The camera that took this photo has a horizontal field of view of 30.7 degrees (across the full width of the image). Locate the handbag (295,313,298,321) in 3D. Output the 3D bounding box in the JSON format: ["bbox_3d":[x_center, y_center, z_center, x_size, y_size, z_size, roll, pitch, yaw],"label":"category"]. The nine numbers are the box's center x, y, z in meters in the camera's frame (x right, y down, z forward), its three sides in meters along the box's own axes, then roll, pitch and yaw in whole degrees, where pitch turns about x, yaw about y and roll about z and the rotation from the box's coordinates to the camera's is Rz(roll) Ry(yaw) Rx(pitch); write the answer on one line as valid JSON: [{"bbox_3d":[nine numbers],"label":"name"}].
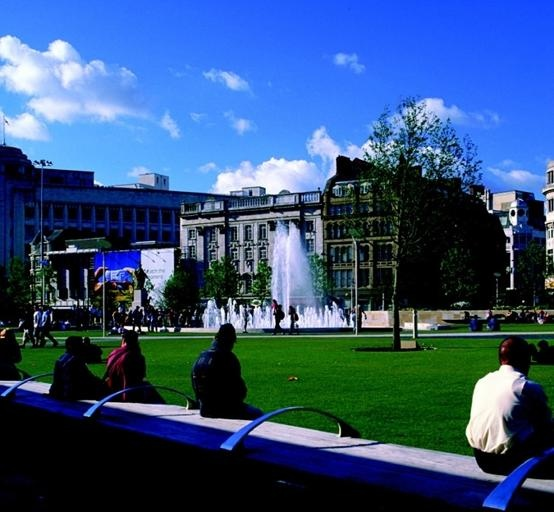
[{"bbox_3d":[0.872,2.813,47.079,0.116,0.289,0.504,-1,-2,-4],"label":"handbag"}]

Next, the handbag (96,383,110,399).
[{"bbox_3d":[-2.260,1.720,12.955,0.151,0.236,0.055,4,-27,-15],"label":"handbag"}]

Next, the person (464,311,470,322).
[{"bbox_3d":[13.112,4.068,69.436,0.446,0.686,0.877,-2,-2,11],"label":"person"}]

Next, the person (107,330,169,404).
[{"bbox_3d":[-1.885,1.453,13.381,0.719,0.943,0.823,5,3,-38],"label":"person"}]

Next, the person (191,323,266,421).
[{"bbox_3d":[-0.602,1.328,11.664,0.708,1.094,0.796,-1,-2,-15],"label":"person"}]

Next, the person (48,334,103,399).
[{"bbox_3d":[-2.762,1.399,13.078,0.713,0.892,0.727,-1,-1,20],"label":"person"}]

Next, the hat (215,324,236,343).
[{"bbox_3d":[-0.597,0.899,11.895,0.174,0.201,0.253,2,-10,-5],"label":"hat"}]
